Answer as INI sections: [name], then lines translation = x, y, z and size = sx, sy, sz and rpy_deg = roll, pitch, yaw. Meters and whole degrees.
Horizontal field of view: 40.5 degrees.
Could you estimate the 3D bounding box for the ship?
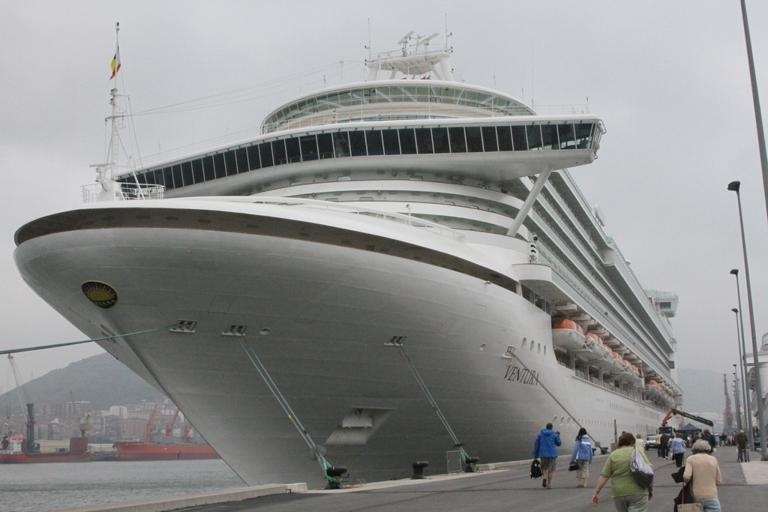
[ship]
translation = 5.941, 2.045, 52.980
size = 18.374, 17.130, 50.967
rpy_deg = -6, -15, 40
